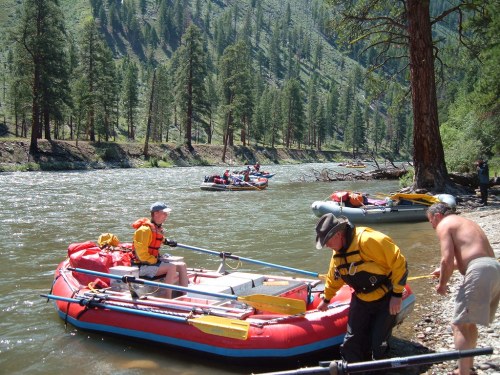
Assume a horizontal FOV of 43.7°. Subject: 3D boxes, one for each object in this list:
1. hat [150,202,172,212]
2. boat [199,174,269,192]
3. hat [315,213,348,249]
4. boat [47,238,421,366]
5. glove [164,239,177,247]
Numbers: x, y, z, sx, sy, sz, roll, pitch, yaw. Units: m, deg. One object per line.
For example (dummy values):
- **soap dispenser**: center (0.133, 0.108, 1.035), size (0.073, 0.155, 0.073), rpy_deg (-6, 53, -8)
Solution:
- **hat**: center (-2.841, 0.638, 20.040), size (0.585, 0.226, 0.365), rpy_deg (4, 3, -14)
- **boat**: center (-1.205, -0.177, 40.771), size (3.302, 0.622, 1.601), rpy_deg (-2, 3, -22)
- **hat**: center (2.183, 1.137, 17.505), size (1.079, 0.450, 0.889), rpy_deg (-41, 11, -12)
- **boat**: center (-1.671, 3.727, 19.244), size (8.091, 1.460, 4.681), rpy_deg (4, 7, 19)
- **glove**: center (-2.690, 1.834, 20.700), size (0.402, 0.133, 0.241), rpy_deg (19, 10, -35)
